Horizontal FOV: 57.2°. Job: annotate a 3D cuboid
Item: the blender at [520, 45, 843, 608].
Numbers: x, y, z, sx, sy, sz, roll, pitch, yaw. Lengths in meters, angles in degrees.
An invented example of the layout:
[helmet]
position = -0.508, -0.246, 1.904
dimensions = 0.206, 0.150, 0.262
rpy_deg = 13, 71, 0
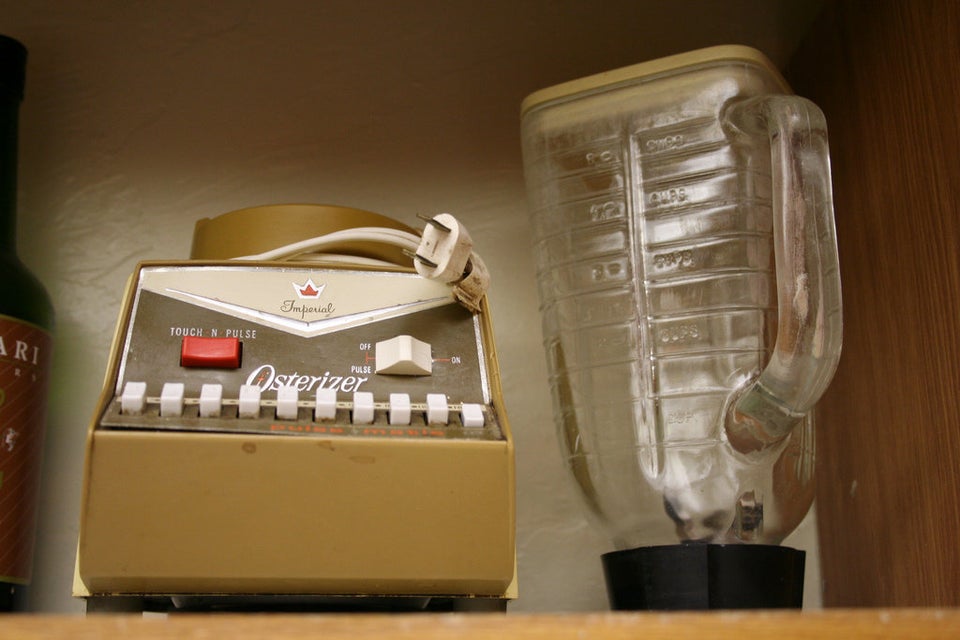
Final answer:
[blender]
position = 0.221, -0.025, 0.973
dimensions = 0.329, 0.531, 0.164
rpy_deg = -6, -17, 20
